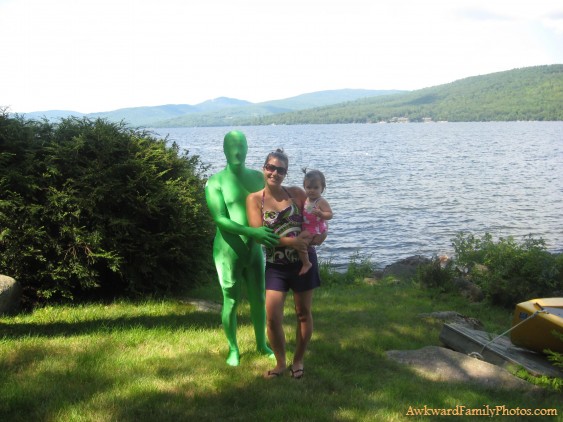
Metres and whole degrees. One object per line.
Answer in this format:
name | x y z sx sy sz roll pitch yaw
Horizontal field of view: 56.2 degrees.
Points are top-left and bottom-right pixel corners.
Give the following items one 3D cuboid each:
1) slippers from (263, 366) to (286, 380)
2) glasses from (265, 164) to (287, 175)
slippers | -0.092 2.309 7.464 0.248 0.094 0.137 4 -2 -7
glasses | -0.062 -0.565 7.151 0.347 0.153 0.156 3 10 -21
